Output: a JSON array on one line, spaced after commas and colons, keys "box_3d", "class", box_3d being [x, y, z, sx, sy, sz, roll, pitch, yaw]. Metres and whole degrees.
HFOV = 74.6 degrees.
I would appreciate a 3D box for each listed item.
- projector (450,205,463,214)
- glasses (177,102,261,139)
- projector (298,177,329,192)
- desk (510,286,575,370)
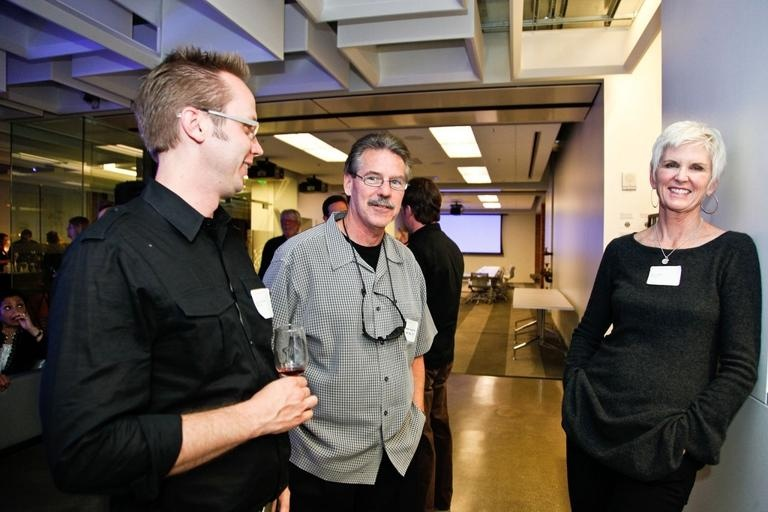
[{"box_3d": [2.782, -1.785, 19.350, 0.395, 0.295, 0.402, -2, -9, 24], "class": "projector"}, {"box_3d": [-0.607, -0.530, 1.962, 0.166, 0.049, 0.127, 21, -2, -28], "class": "glasses"}, {"box_3d": [-1.881, -1.849, 13.419, 0.527, 0.356, 0.500, 4, 10, 10], "class": "projector"}, {"box_3d": [2.690, 1.554, 8.679, 0.841, 0.902, 2.498, 1, 3, 12], "class": "desk"}]
